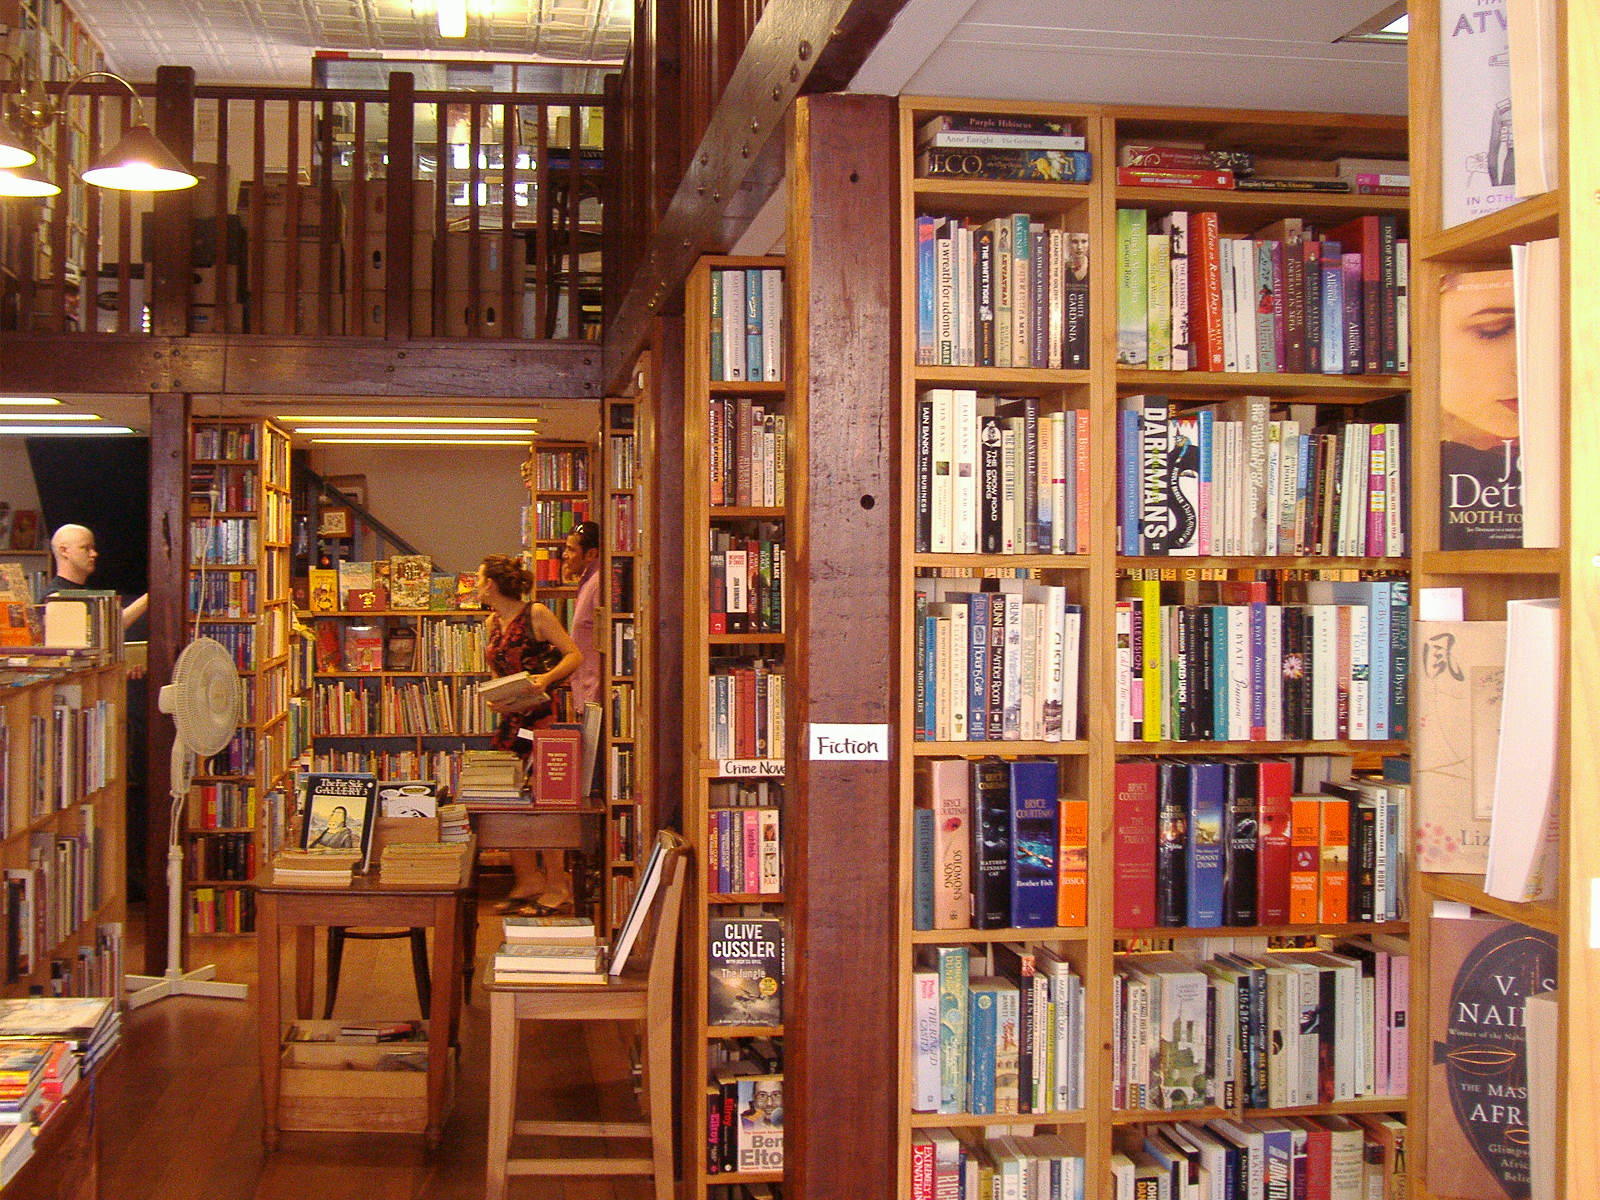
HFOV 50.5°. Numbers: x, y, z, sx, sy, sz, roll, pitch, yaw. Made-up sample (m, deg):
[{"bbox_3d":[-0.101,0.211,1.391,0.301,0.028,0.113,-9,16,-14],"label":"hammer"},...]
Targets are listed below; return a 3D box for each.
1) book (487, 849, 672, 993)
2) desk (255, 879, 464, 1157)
[{"bbox_3d":[-0.664,0.940,5.205,0.511,0.379,0.399,3,1,-3],"label":"book"},{"bbox_3d":[-1.532,1.408,6.052,0.790,0.849,0.992,1,-4,1],"label":"desk"}]
